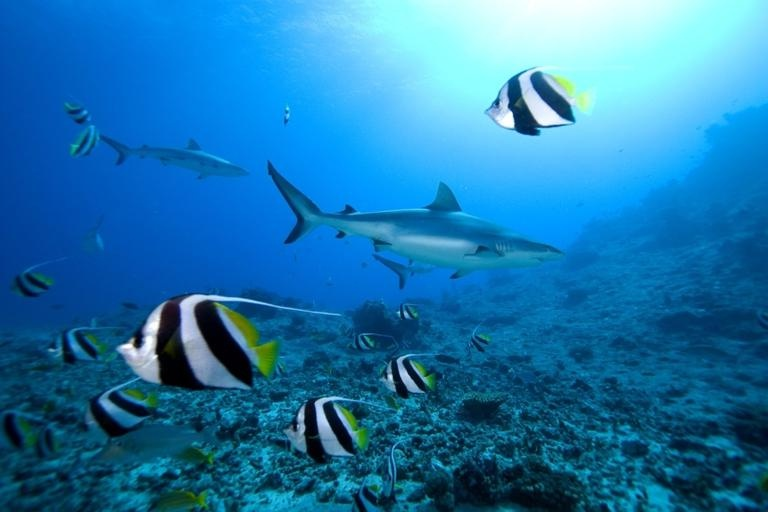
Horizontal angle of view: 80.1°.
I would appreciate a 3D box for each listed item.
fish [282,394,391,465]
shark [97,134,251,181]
[{"bbox_3d":[-1.386,4.149,11.060,1.881,1.586,0.498,0,10,-10],"label":"fish"},{"bbox_3d":[-6.495,-3.160,14.593,4.417,0.979,1.167,8,-12,-12],"label":"shark"}]
